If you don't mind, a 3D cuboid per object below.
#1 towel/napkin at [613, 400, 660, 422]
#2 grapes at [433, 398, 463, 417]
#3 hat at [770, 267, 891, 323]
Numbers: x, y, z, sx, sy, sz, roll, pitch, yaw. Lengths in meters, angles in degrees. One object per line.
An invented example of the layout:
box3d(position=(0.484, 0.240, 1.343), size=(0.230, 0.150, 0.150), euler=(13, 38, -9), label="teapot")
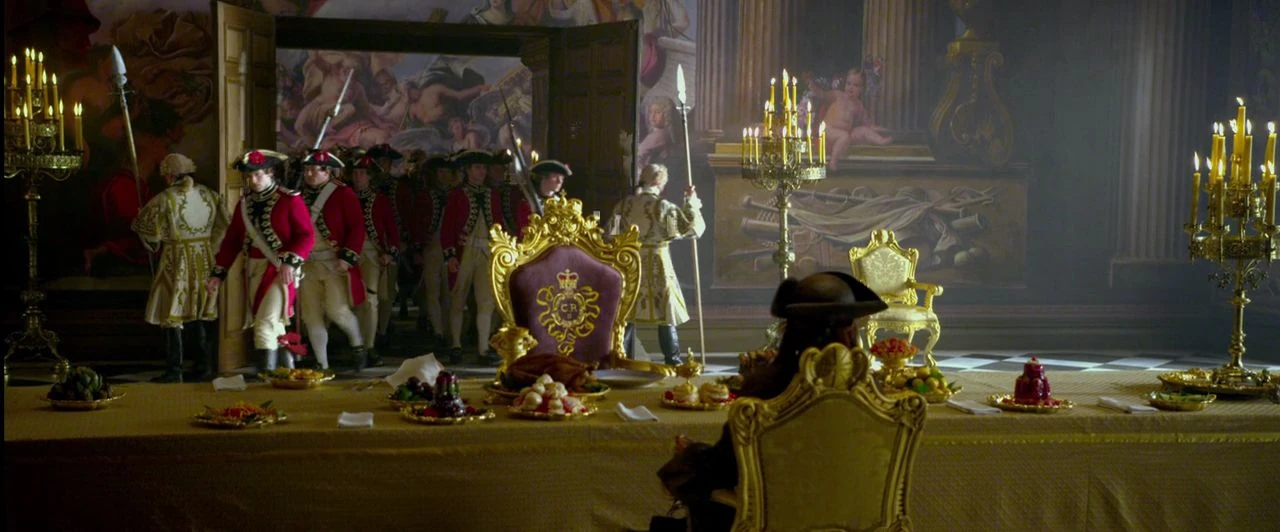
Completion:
box3d(position=(-0.037, 1.520, 11.931), size=(0.319, 0.074, 0.261), euler=(-2, 13, -11), label="towel/napkin")
box3d(position=(-2.020, 1.462, 11.861), size=(0.259, 0.100, 0.249), euler=(2, -1, 35), label="grapes")
box3d(position=(1.851, 0.301, 11.583), size=(0.764, 0.582, 1.313), euler=(-2, 1, -29), label="hat")
